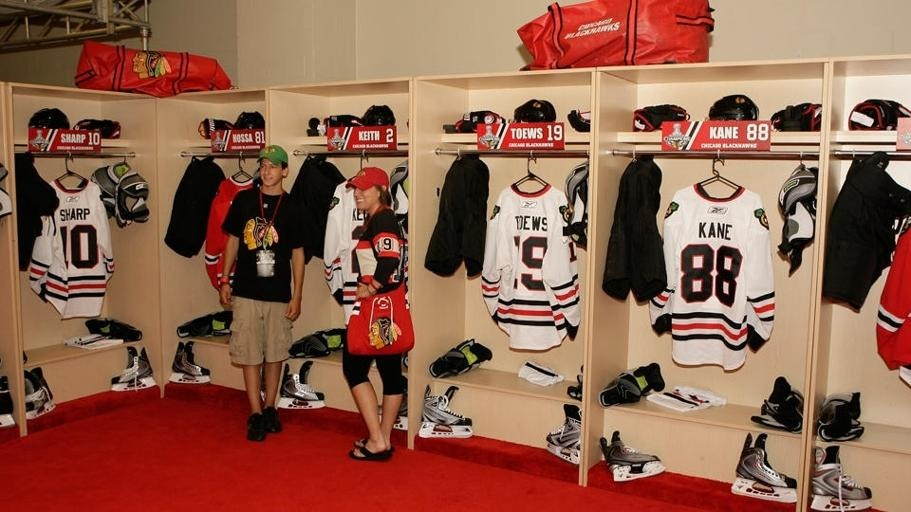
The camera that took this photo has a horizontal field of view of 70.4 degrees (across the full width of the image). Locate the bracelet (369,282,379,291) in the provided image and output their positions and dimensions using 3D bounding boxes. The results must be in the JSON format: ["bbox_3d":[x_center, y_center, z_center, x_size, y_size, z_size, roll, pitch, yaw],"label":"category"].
[{"bbox_3d":[-0.718,0.254,5.760,0.087,0.089,0.051,-1,12,-6],"label":"bracelet"}]

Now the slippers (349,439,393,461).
[{"bbox_3d":[-0.804,1.817,6.116,0.304,0.086,0.211,3,2,10],"label":"slippers"}]

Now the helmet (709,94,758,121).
[{"bbox_3d":[2.442,-1.292,5.736,0.333,0.276,0.260,9,3,27],"label":"helmet"}]

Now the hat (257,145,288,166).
[{"bbox_3d":[-1.769,-0.994,6.376,0.193,0.139,0.260,12,-6,14],"label":"hat"}]

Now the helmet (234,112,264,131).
[{"bbox_3d":[-2.251,-1.495,7.134,0.291,0.099,0.278,-4,41,-7],"label":"helmet"}]

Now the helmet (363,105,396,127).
[{"bbox_3d":[-0.806,-1.426,6.705,0.281,0.227,0.244,-10,2,7],"label":"helmet"}]

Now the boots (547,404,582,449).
[{"bbox_3d":[0.929,1.605,6.017,0.532,0.361,0.173,16,-11,-35],"label":"boots"}]

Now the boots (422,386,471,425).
[{"bbox_3d":[-0.054,1.479,6.415,0.578,0.379,0.188,2,-10,18],"label":"boots"}]

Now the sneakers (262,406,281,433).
[{"bbox_3d":[-1.848,1.623,6.511,0.139,0.115,0.286,-4,15,-27],"label":"sneakers"}]

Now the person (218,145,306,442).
[{"bbox_3d":[-1.882,0.341,6.459,0.759,2.818,0.613,-8,14,-32],"label":"person"}]

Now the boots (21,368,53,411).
[{"bbox_3d":[-4.251,1.381,6.624,0.312,0.351,0.390,-3,-32,-43],"label":"boots"}]

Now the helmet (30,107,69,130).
[{"bbox_3d":[-4.297,-1.458,6.843,0.355,0.205,0.408,-7,14,-32],"label":"helmet"}]

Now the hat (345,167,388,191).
[{"bbox_3d":[-0.791,-0.698,5.910,0.301,0.153,0.203,2,3,-18],"label":"hat"}]

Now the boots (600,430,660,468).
[{"bbox_3d":[1.505,1.766,5.894,0.597,0.312,0.210,-2,-2,6],"label":"boots"}]
